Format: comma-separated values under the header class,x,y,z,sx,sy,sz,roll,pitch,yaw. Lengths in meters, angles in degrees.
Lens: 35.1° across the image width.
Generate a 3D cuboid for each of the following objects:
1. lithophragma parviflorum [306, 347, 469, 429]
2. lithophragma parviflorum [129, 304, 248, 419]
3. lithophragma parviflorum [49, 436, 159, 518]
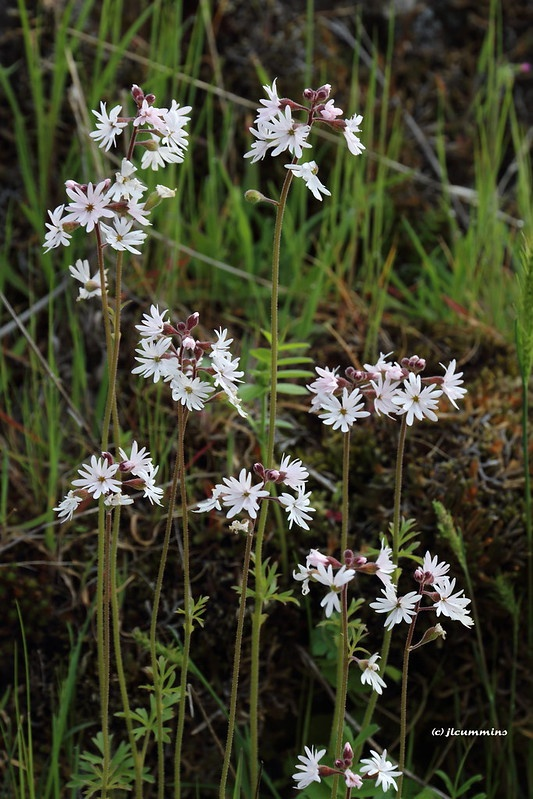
class,x,y,z,sx,sy,sz,roll,pitch,yaw
lithophragma parviflorum,0.213,-0.013,1.556,0.264,0.176,0.105,-3,-7,-6
lithophragma parviflorum,-0.141,-0.071,1.558,0.196,0.198,0.260,4,16,-7
lithophragma parviflorum,-0.365,0.178,1.888,0.199,0.112,0.160,-27,61,-20
